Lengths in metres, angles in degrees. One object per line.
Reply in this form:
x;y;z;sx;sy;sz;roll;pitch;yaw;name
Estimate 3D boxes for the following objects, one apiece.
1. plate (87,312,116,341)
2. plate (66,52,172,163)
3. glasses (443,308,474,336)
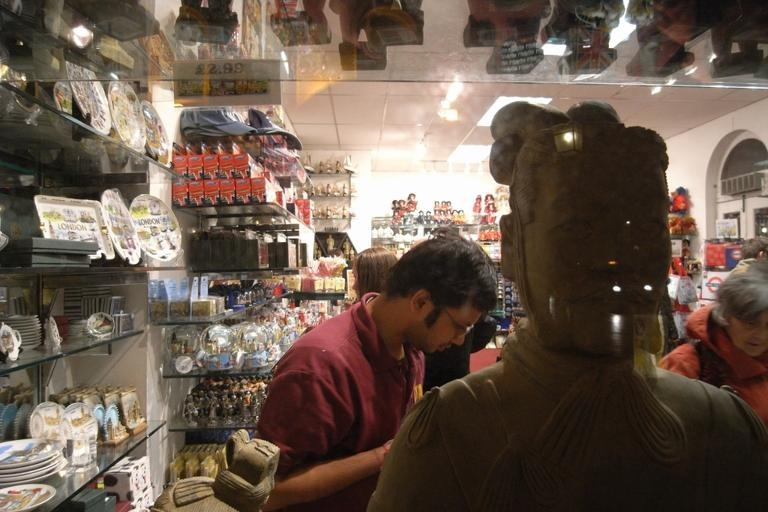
-1.239;0.307;2.475;0.085;0.098;0.107;8;7;7;plate
-1.096;-0.592;2.437;0.087;0.301;0.398;-14;-15;16;plate
0.215;0.193;1.639;0.025;0.086;0.082;-28;-20;26;glasses
